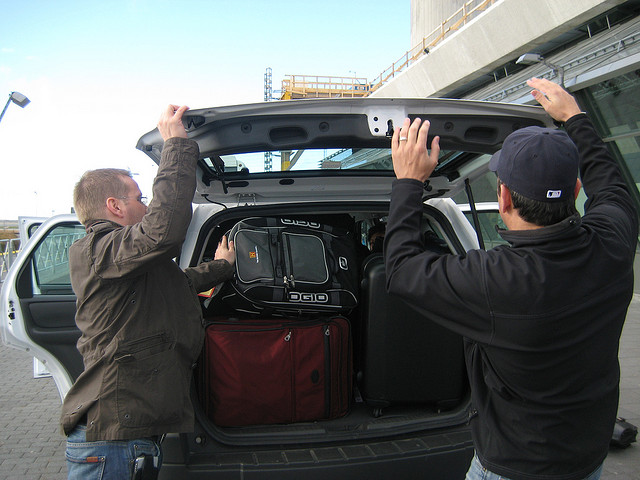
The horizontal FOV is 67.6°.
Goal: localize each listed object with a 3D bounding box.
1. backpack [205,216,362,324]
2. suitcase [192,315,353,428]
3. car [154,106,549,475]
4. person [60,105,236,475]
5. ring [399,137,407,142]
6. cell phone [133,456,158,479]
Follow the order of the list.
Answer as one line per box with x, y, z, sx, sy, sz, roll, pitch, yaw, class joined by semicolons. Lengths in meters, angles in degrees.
-0.254;0.164;2.840;0.945;0.622;0.314;5;-29;-18;backpack
-0.249;0.772;2.832;0.888;0.578;0.491;1;-9;-23;suitcase
-0.014;0.153;3.139;1.380;1.335;2.133;-1;14;-7;car
-0.797;0.212;2.006;0.580;1.525;0.496;-2;12;-15;person
0.305;-0.373;1.775;0.019;0.012;0.019;2;1;0;ring
-0.733;0.920;1.975;0.071;0.093;0.091;-2;-6;45;cell phone
